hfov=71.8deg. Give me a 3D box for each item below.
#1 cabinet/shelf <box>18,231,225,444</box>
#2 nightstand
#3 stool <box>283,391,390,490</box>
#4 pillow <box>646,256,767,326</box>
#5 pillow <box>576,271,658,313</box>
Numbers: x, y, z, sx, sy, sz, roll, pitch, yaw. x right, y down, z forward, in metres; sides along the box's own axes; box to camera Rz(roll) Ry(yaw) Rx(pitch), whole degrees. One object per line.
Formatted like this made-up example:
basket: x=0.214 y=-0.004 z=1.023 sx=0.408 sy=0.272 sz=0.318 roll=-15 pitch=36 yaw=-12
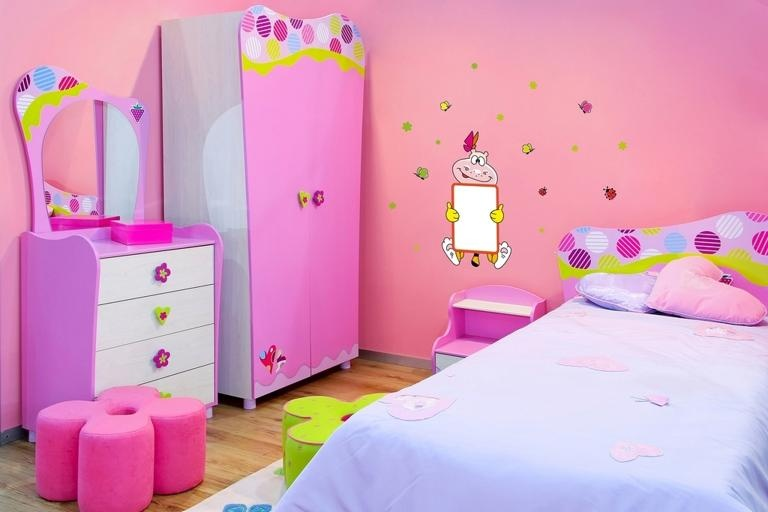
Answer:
cabinet/shelf: x=-1.701 y=0.503 z=3.474 sx=0.730 sy=1.303 sz=1.090 roll=4 pitch=5 yaw=22
nightstand: x=0.771 y=0.601 z=3.886 sx=0.443 sy=0.648 sz=0.772 roll=-14 pitch=11 yaw=-40
stool: x=-0.248 y=1.008 z=2.801 sx=0.621 sy=0.215 sz=0.551 roll=-35 pitch=-23 yaw=31
pillow: x=1.891 y=0.250 z=3.120 sx=0.466 sy=0.148 sz=0.482 roll=9 pitch=53 yaw=20
pillow: x=1.538 y=0.298 z=3.453 sx=0.397 sy=0.112 sz=0.418 roll=7 pitch=9 yaw=-27
